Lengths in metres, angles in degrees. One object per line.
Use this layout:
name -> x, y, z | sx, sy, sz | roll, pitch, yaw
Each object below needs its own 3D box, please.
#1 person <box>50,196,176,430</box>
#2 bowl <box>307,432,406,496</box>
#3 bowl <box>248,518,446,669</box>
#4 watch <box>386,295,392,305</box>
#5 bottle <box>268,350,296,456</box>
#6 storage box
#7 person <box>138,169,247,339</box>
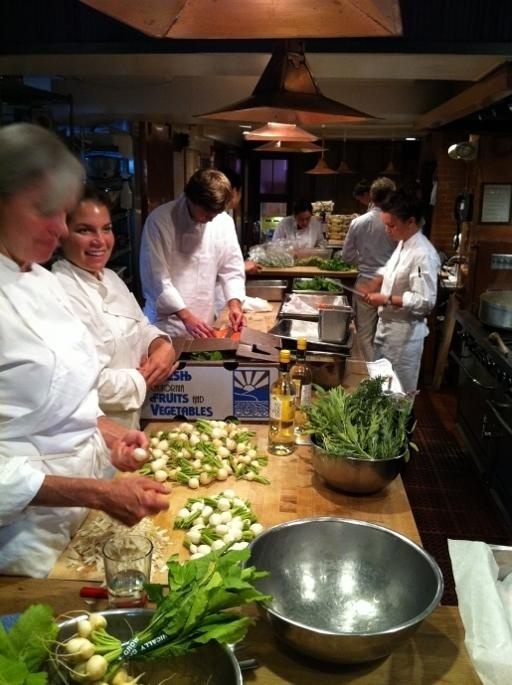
person -> -0.521, -0.109, 2.046 | 0.479, 0.909, 0.453 | 13, 15, 26
bowl -> 0.272, 0.349, 1.593 | 0.354, 0.130, 0.310 | 3, 12, 9
bowl -> 0.152, 0.473, 0.953 | 0.343, 0.116, 0.339 | 3, 10, 0
watch -> 1.041, -0.335, 4.051 | 0.061, 0.054, 0.038 | 6, -26, -3
bottle -> 0.080, 0.196, 1.659 | 0.117, 0.320, 0.107 | 10, 17, -3
storage box -> -0.093, 0.041, 2.338 | 0.900, 0.321, 0.561 | 2, 15, 6
person -> -0.299, -0.565, 3.548 | 0.544, 1.433, 0.658 | -4, 6, -40
